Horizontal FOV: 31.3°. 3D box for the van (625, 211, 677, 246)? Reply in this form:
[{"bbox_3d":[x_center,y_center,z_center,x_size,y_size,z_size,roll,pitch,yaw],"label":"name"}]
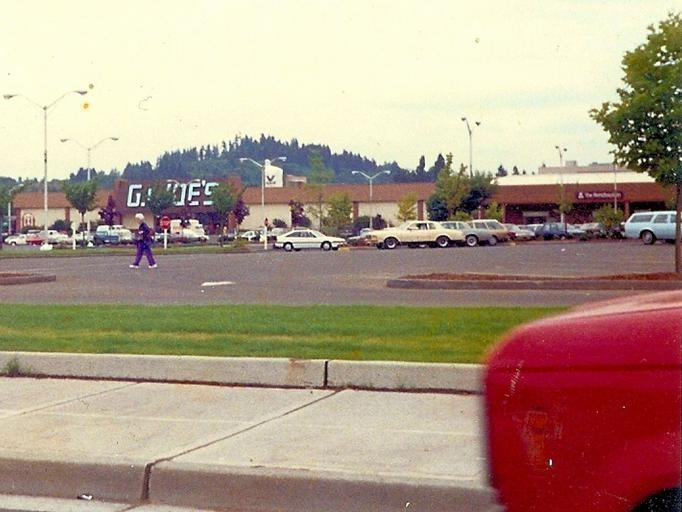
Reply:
[{"bbox_3d":[13.376,-1.181,52.114,1.323,1.369,3.544,1,2,-11],"label":"van"}]
